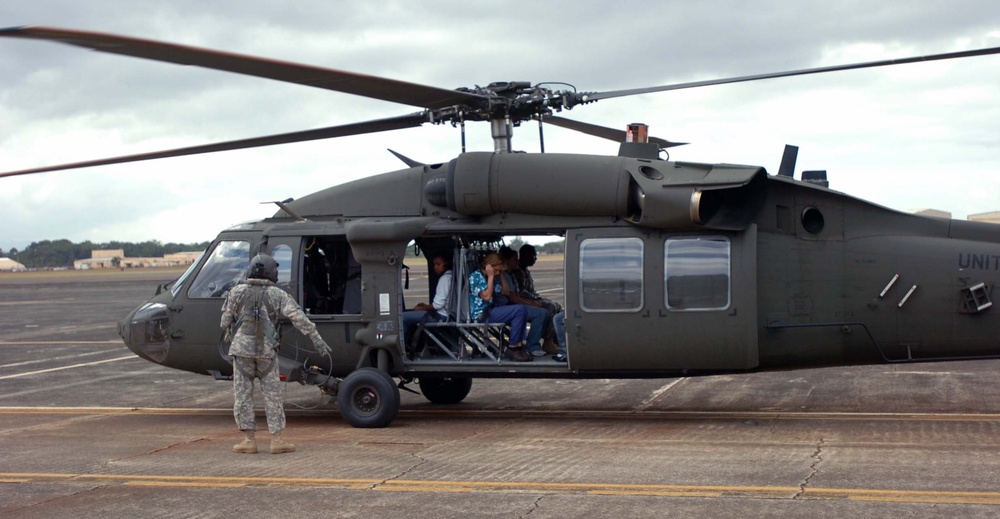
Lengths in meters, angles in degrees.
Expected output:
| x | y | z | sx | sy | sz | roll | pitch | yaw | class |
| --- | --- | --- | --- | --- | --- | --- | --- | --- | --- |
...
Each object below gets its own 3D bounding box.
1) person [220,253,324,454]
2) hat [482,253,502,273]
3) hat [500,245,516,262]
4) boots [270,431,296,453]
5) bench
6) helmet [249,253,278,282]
| x | y | z | sx | sy | sz | roll | pitch | yaw | class |
| --- | --- | --- | --- | --- | --- | --- | --- | --- | --- |
| -4.287 | 1.717 | 15.991 | 1.515 | 3.635 | 0.579 | -1 | -2 | -11 | person |
| -0.143 | 0.043 | 17.722 | 0.332 | 0.372 | 0.399 | -8 | 37 | -34 | hat |
| 0.195 | -0.106 | 18.351 | 0.423 | 0.312 | 0.317 | -7 | 10 | -25 | hat |
| -4.032 | 3.373 | 16.018 | 0.651 | 0.345 | 0.321 | -2 | 0 | 8 | boots |
| -0.511 | 1.138 | 18.663 | 2.760 | 1.956 | 1.930 | 2 | -5 | 8 | bench |
| -4.335 | 0.140 | 16.301 | 0.678 | 0.490 | 0.451 | -5 | 9 | -25 | helmet |
